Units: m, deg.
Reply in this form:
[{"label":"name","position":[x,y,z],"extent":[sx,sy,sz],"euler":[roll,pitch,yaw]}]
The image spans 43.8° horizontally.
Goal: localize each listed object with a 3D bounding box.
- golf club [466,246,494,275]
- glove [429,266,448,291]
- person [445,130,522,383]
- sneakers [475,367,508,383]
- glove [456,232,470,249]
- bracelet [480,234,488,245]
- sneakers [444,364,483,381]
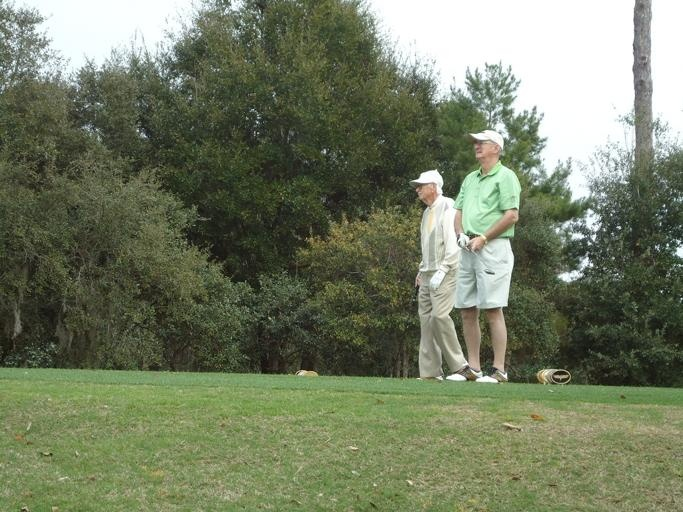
[{"label":"golf club","position":[1.951,0.092,11.768],"extent":[0.323,0.368,0.465],"euler":[7,-14,-32]},{"label":"glove","position":[1.419,0.342,12.565],"extent":[0.184,0.320,0.092],"euler":[26,-11,15]},{"label":"person","position":[1.997,0.116,11.902],"extent":[0.886,3.602,1.217],"euler":[2,13,10]},{"label":"sneakers","position":[2.083,1.644,11.584],"extent":[0.542,0.254,0.224],"euler":[3,-8,-14]},{"label":"glove","position":[1.686,-0.188,11.780],"extent":[0.163,0.246,0.246],"euler":[1,13,7]},{"label":"bracelet","position":[1.952,-0.223,11.653],"extent":[0.026,0.103,0.107],"euler":[-12,-31,-4]},{"label":"sneakers","position":[1.757,1.699,12.081],"extent":[0.555,0.276,0.226],"euler":[2,-15,-4]}]
